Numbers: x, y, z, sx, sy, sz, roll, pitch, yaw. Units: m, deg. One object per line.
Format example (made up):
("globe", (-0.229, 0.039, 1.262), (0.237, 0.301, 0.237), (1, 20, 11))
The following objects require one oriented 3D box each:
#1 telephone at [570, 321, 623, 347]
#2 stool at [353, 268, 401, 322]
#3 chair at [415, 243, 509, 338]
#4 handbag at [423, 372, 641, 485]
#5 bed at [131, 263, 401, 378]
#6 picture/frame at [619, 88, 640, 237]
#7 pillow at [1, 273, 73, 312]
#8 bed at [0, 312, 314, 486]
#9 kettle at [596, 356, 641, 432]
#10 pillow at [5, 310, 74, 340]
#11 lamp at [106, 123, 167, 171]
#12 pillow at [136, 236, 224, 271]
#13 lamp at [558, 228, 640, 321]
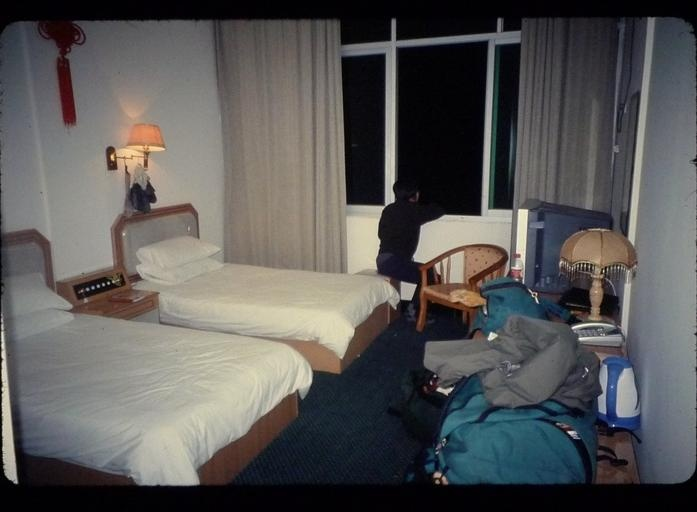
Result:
("telephone", (1.426, 0.440, 2.935), (0.216, 0.104, 0.167), (2, 4, 19))
("stool", (0.270, 0.373, 4.830), (0.494, 0.468, 0.256), (6, -4, -3))
("chair", (1.157, 0.315, 5.061), (0.709, 0.906, 0.720), (0, 10, -30))
("handbag", (0.845, 0.904, 2.570), (0.637, 0.211, 0.638), (-6, 1, 12))
("bed", (-0.663, 0.438, 4.311), (1.356, 0.317, 1.139), (5, 9, 23))
("picture/frame", (1.876, -0.610, 3.345), (0.109, 1.000, 0.046), (5, -7, 32))
("pillow", (-2.304, 0.284, 3.815), (0.373, 0.283, 0.362), (-12, 16, -37))
("bed", (-1.314, 0.832, 3.242), (1.556, 0.478, 1.234), (4, 14, 26))
("kettle", (1.462, 0.760, 2.810), (0.226, 0.387, 0.284), (0, 0, 39))
("pillow", (-2.096, 0.467, 3.471), (0.228, 0.092, 0.390), (34, 26, 16))
("lamp", (-1.972, -0.993, 4.768), (0.511, 0.387, 0.315), (-6, 2, -17))
("pillow", (-1.711, -0.055, 5.136), (0.497, 0.228, 0.843), (14, 15, 23))
("lamp", (1.402, 0.080, 3.144), (0.518, 0.621, 0.508), (-6, 9, -44))
